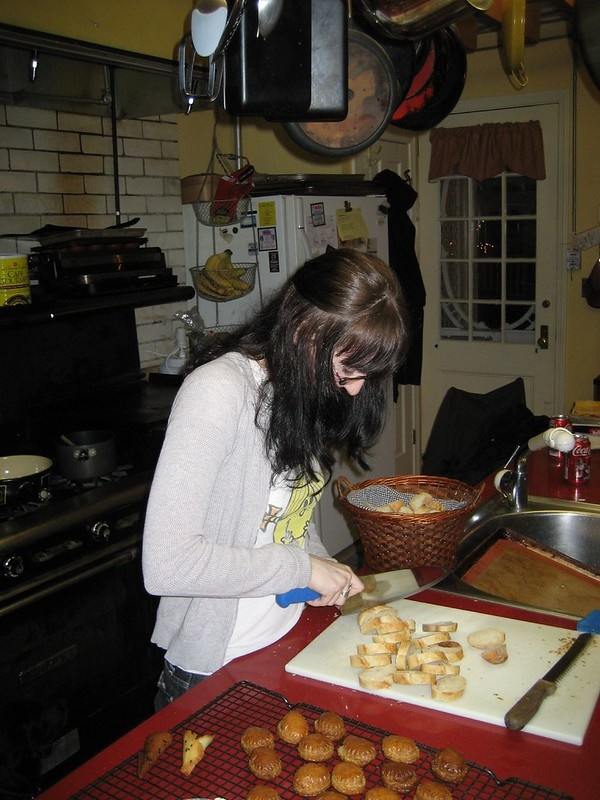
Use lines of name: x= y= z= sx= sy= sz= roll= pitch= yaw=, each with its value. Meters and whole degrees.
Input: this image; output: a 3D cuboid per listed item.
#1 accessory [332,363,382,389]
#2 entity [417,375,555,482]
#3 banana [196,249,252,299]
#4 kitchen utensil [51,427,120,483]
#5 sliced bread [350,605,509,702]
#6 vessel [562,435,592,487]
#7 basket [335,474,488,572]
accessory: x=0.074 y=-0.028 z=0.790 sx=0.041 sy=0.036 sz=0.054 roll=-1 pitch=-23 yaw=15
entity: x=0.737 y=0.106 z=2.338 sx=0.620 sy=0.342 sz=0.335 roll=-5 pitch=7 yaw=-36
banana: x=-0.328 y=-0.511 z=2.488 sx=0.212 sy=0.164 sz=0.227 roll=3 pitch=14 yaw=24
kitchen utensil: x=-0.658 y=0.166 z=1.817 sx=0.171 sy=0.107 sz=0.158 roll=1 pitch=10 yaw=21
sliced bread: x=0.161 y=0.349 z=0.831 sx=0.107 sy=0.022 sz=0.108 roll=5 pitch=10 yaw=37
vessel: x=0.842 y=0.174 z=1.822 sx=0.066 sy=0.152 sz=0.194 roll=2 pitch=7 yaw=26
basket: x=0.230 y=0.207 z=1.166 sx=0.232 sy=0.146 sz=0.235 roll=2 pitch=8 yaw=34
